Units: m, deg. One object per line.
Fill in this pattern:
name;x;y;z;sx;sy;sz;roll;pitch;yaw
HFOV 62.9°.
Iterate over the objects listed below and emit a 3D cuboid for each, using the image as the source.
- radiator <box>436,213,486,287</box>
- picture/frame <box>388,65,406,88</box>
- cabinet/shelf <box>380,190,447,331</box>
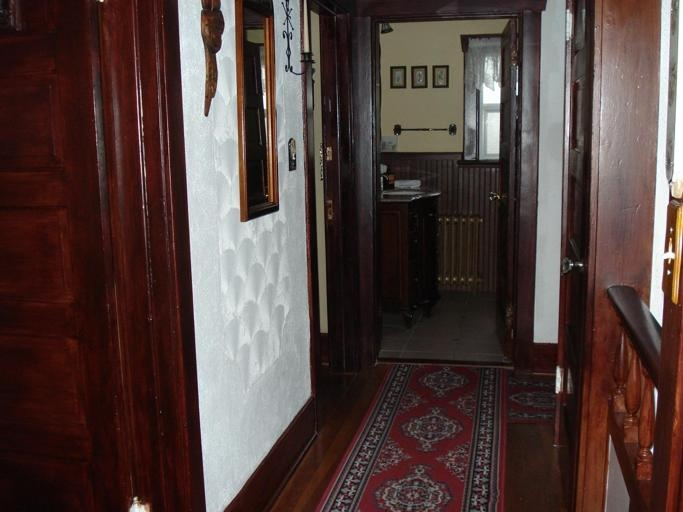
radiator;1.282;-0.134;6.339;0.551;0.729;0.665;5;-23;-13
picture/frame;0.625;-2.009;6.281;0.203;0.333;0.030;0;3;1
cabinet/shelf;0.659;-0.024;5.362;0.504;0.982;0.951;1;4;25
